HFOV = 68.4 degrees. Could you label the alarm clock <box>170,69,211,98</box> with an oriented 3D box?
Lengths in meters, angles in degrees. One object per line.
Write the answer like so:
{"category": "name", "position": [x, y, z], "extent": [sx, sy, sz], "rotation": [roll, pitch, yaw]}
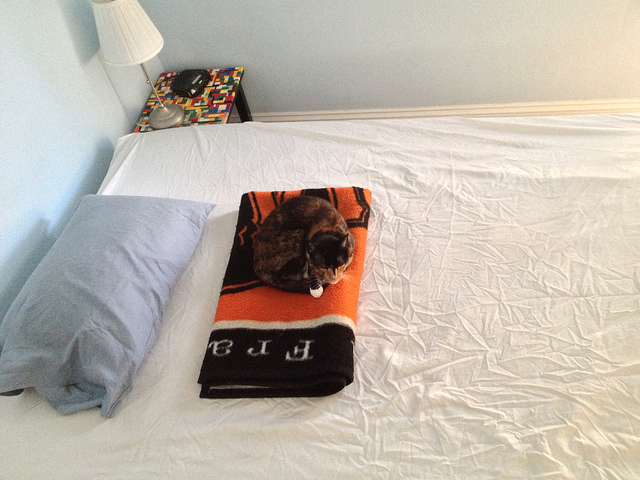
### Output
{"category": "alarm clock", "position": [-0.733, -0.890, 2.646], "extent": [0.169, 0.051, 0.189], "rotation": [8, 46, 17]}

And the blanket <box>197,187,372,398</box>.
{"category": "blanket", "position": [-0.113, 0.166, 1.813], "extent": [0.561, 0.174, 0.812], "rotation": [4, 52, 10]}

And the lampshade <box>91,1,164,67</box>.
{"category": "lampshade", "position": [-0.909, -0.966, 2.203], "extent": [0.301, 0.275, 0.209], "rotation": [-21, 50, -17]}

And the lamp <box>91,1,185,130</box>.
{"category": "lamp", "position": [-0.937, -0.885, 2.395], "extent": [0.294, 0.668, 0.341], "rotation": [-35, 62, -19]}

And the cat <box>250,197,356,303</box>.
{"category": "cat", "position": [-0.069, 0.002, 1.785], "extent": [0.390, 0.190, 0.488], "rotation": [-4, 51, 0]}
